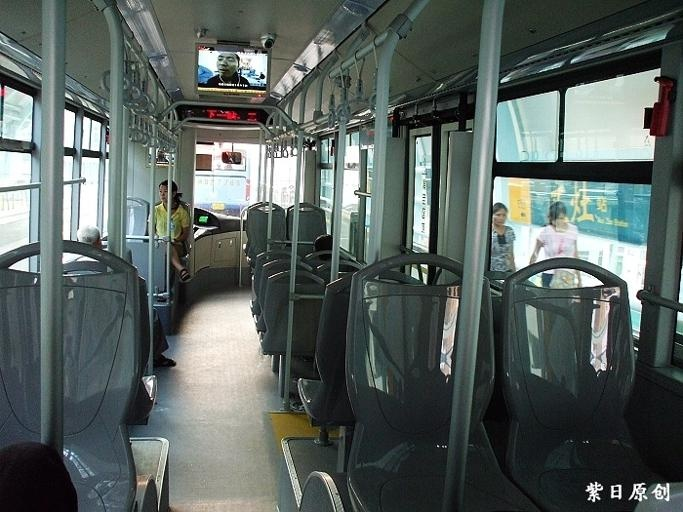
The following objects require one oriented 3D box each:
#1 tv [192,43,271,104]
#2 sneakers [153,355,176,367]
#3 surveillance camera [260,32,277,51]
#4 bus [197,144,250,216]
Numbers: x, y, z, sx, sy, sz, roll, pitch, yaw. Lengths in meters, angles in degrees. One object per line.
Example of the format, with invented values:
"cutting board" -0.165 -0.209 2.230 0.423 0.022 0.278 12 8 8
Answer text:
"tv" -1.092 -1.816 4.928 0.887 0.699 0.099 0 5 -4
"sneakers" -2.112 1.241 5.986 0.293 0.131 0.111 -1 3 -17
"surveillance camera" -0.704 -2.023 4.761 0.106 0.058 0.153 3 -10 -15
"bus" -3.906 -2.386 15.948 2.087 2.105 3.308 0 14 -13
